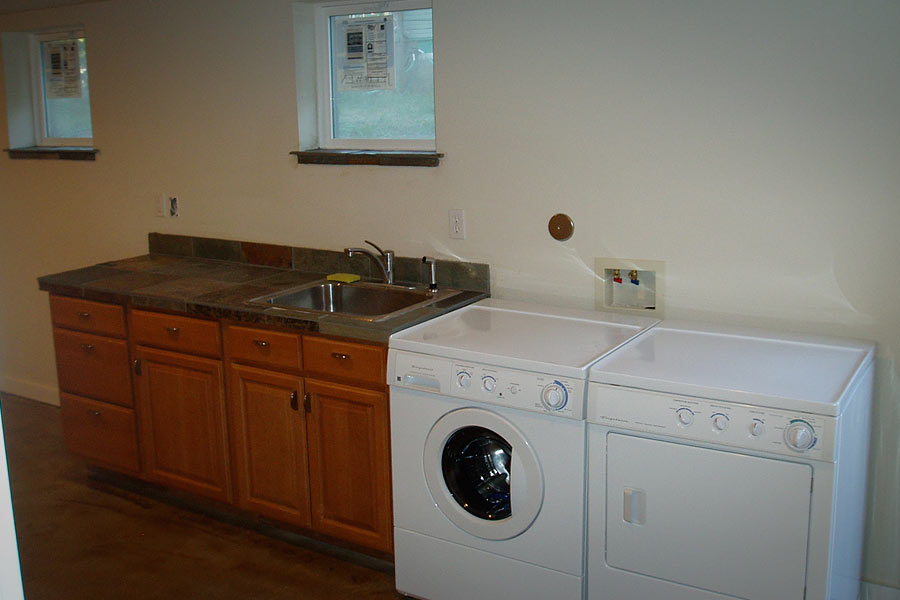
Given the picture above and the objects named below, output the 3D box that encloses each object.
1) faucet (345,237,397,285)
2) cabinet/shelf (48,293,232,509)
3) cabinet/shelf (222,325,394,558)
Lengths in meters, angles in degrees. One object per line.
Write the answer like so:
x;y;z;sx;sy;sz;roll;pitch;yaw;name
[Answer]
-0.407;-0.200;3.487;0.310;0.189;0.074;8;0;-42;faucet
-1.580;0.511;3.530;1.010;0.866;0.508;7;15;23;cabinet/shelf
-0.519;0.548;3.408;1.014;0.991;0.637;7;15;32;cabinet/shelf
